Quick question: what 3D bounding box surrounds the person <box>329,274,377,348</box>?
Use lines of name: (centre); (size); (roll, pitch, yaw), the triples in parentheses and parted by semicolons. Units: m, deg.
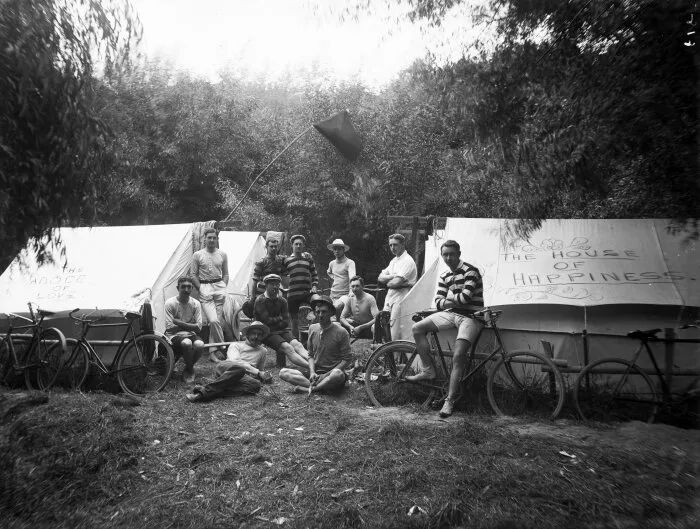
person: (0.116, 0.629, 7.609); (0.707, 1.098, 0.704); (-2, 3, 16)

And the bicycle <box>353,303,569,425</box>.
bicycle: (1.081, 1.014, 5.621); (1.919, 1.374, 0.839); (-3, -10, 17)

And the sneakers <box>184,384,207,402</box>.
sneakers: (-1.565, 1.324, 5.681); (0.221, 0.188, 0.158); (7, -13, -15)

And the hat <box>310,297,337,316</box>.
hat: (-0.276, 0.422, 5.945); (0.193, 0.061, 0.211); (33, -21, -8)

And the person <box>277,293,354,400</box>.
person: (-0.232, 0.994, 6.257); (0.879, 1.344, 0.832); (-7, -15, 30)

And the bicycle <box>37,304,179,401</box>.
bicycle: (-2.443, 1.001, 6.045); (1.367, 1.029, 0.674); (4, -11, 6)

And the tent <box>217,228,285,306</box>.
tent: (-1.546, 0.059, 8.383); (0.666, 1.785, 0.467); (13, -16, -24)

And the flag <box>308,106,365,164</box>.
flag: (-0.126, -1.981, 8.220); (0.640, 0.306, 0.672); (20, -54, -30)

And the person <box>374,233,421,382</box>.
person: (0.576, 0.464, 6.940); (0.423, 1.637, 0.482); (0, 5, -21)

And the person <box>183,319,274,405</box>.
person: (-1.290, 1.058, 6.122); (0.851, 0.966, 0.786); (5, -13, -11)

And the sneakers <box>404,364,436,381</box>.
sneakers: (0.673, 1.055, 5.338); (0.319, 0.182, 0.111); (1, -8, 12)
